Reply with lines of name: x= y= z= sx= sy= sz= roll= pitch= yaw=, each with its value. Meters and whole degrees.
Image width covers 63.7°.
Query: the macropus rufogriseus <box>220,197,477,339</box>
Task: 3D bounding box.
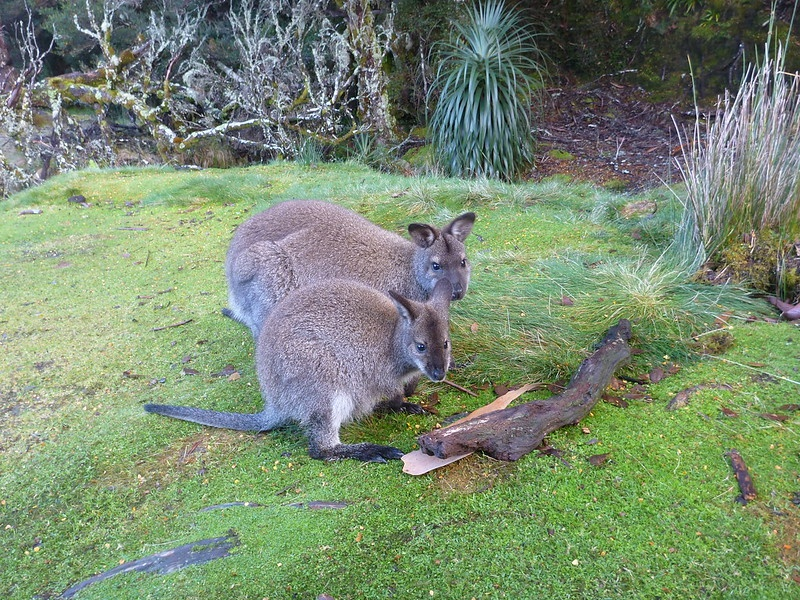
macropus rufogriseus: x=-0.501 y=-0.442 z=6.356 sx=2.222 sy=1.201 sz=1.210 roll=13 pitch=26 yaw=1
